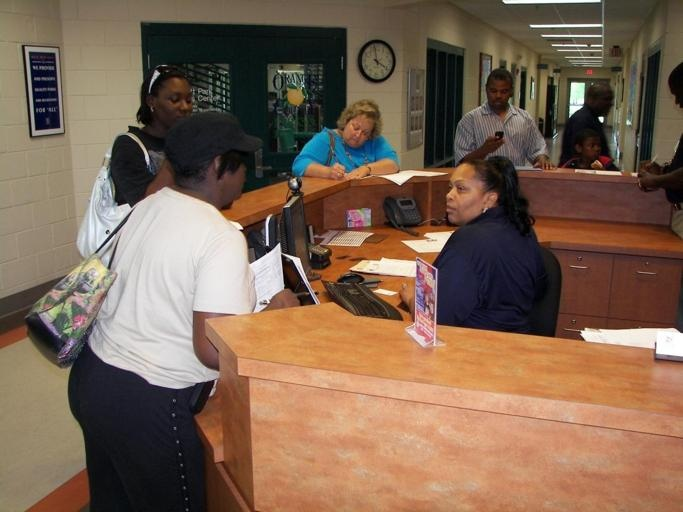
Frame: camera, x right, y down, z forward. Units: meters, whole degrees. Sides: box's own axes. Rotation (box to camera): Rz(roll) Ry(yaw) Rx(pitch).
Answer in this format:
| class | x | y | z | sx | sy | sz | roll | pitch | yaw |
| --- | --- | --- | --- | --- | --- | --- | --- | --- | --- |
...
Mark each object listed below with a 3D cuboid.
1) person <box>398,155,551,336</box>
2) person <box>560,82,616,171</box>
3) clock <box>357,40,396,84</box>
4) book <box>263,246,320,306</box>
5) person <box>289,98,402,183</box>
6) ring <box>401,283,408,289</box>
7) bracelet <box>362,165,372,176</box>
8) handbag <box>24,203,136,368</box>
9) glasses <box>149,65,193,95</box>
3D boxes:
| class | x | y | z | sx | sy | sz | roll | pitch | yaw |
| --- | --- | --- | --- | --- | --- | --- | --- | --- | --- |
| person | 0.705 | -0.034 | 2.236 | 0.497 | 0.782 | 0.671 | 4 | 12 | 16 |
| person | 2.730 | -1.115 | 5.460 | 0.421 | 1.455 | 0.639 | 6 | 25 | 29 |
| clock | 0.411 | -2.380 | 6.087 | 0.501 | 0.536 | 0.082 | -3 | 7 | -22 |
| book | -0.211 | 0.023 | 2.248 | 0.057 | 0.281 | 0.250 | -26 | -29 | 31 |
| person | 0.096 | -0.933 | 4.027 | 0.908 | 0.613 | 0.481 | -6 | 14 | -31 |
| ring | 0.315 | 0.158 | 2.431 | 0.030 | 0.017 | 0.043 | -4 | 4 | 7 |
| bracelet | 0.217 | -0.661 | 3.952 | 0.063 | 0.105 | 0.093 | -1 | 7 | 17 |
| handbag | -0.876 | 0.049 | 1.746 | 0.132 | 0.241 | 0.566 | 33 | 65 | 14 |
| glasses | -0.992 | -1.015 | 2.841 | 0.182 | 0.196 | 0.056 | 10 | 4 | 17 |
